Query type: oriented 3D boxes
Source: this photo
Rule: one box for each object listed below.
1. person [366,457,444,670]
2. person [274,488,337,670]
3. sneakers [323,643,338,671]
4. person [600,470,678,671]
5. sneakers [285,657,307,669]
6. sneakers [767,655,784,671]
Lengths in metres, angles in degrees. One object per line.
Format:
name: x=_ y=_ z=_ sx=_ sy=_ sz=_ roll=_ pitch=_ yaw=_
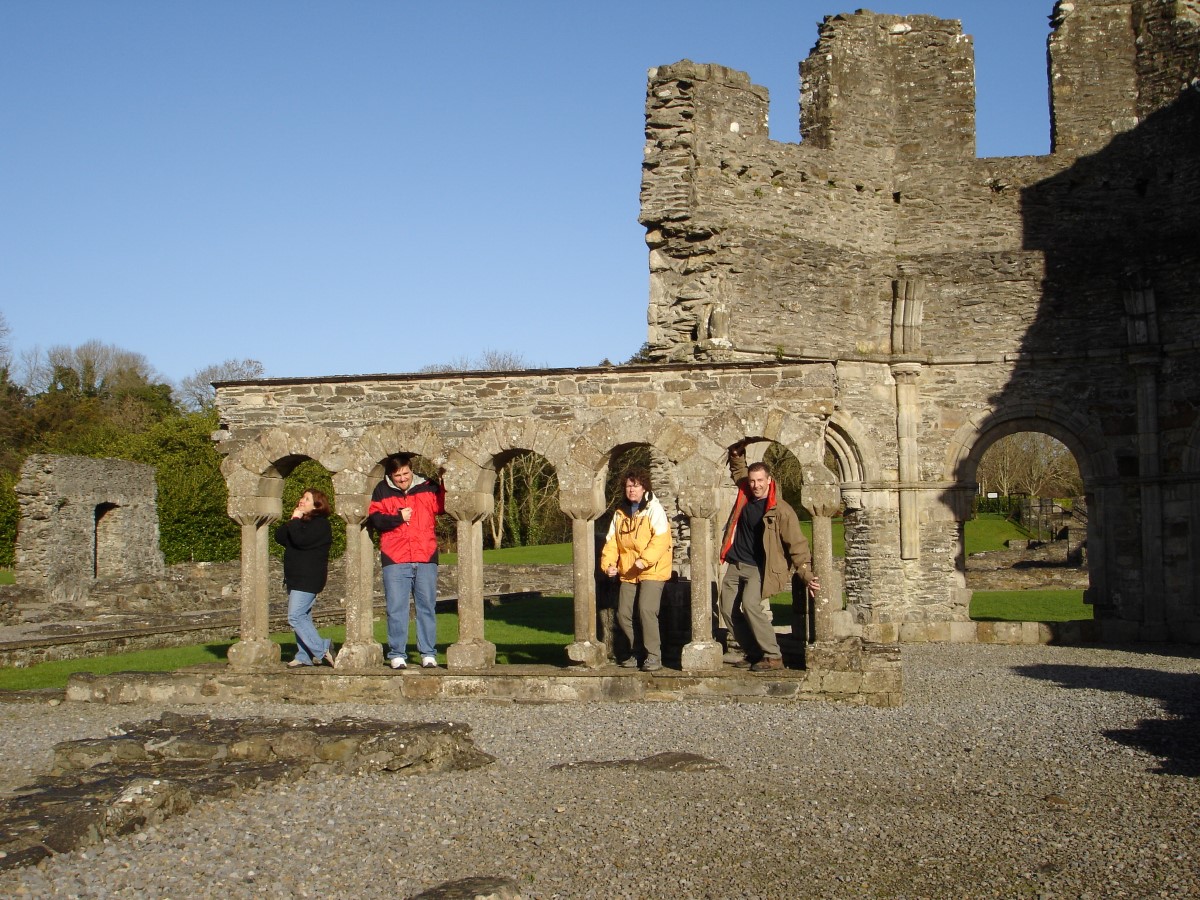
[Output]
person: x=-2.196 y=1.275 z=12.473 sx=0.849 sy=2.461 sz=0.708 roll=0 pitch=-5 yaw=-8
person: x=-3.373 y=1.508 z=12.530 sx=0.627 sy=2.007 sz=0.567 roll=1 pitch=-5 yaw=-16
sneakers: x=-3.074 y=2.400 z=12.598 sx=0.239 sy=0.318 sz=0.099 roll=-5 pitch=2 yaw=24
person: x=0.428 y=1.370 z=12.098 sx=0.734 sy=2.105 sz=1.224 roll=-1 pitch=-5 yaw=0
sneakers: x=-3.475 y=2.471 z=12.508 sx=0.126 sy=0.098 sz=0.232 roll=1 pitch=-16 yaw=-2
sneakers: x=1.881 y=2.285 z=11.613 sx=0.189 sy=0.137 sz=0.269 roll=-2 pitch=-5 yaw=7
